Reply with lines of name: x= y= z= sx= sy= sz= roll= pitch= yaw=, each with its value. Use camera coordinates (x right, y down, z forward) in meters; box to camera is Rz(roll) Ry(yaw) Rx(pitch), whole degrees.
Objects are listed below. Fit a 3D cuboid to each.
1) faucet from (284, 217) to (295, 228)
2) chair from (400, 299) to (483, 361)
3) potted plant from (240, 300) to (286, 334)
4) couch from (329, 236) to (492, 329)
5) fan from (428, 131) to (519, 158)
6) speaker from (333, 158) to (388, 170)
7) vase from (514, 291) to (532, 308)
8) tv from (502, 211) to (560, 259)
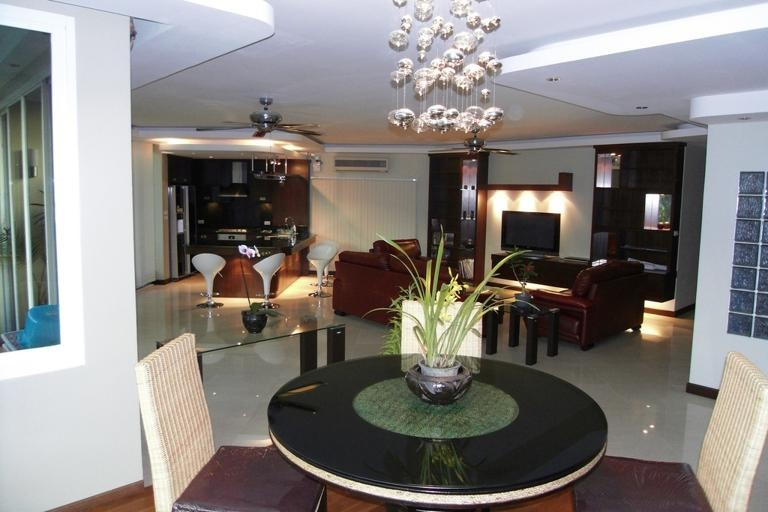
faucet: x=-2.072 y=-0.752 z=11.505 sx=0.181 sy=0.240 sz=0.089 roll=-3 pitch=1 yaw=6
chair: x=0.394 y=0.585 z=3.877 sx=0.657 sy=0.610 sz=0.475 roll=1 pitch=4 yaw=13
potted plant: x=-1.133 y=0.562 z=4.880 sx=0.319 sy=0.210 sz=0.312 roll=-1 pitch=1 yaw=3
couch: x=0.171 y=0.347 z=8.037 sx=1.264 sy=1.251 sz=2.133 roll=-4 pitch=9 yaw=-33
fan: x=1.646 y=-1.978 z=9.244 sx=1.378 sy=0.396 sz=1.370 roll=6 pitch=10 yaw=29
speaker: x=-0.489 y=-1.991 z=11.387 sx=1.101 sy=0.273 sz=0.245 roll=-2 pitch=9 yaw=-6
vase: x=1.829 y=0.555 z=6.745 sx=0.218 sy=0.148 sz=0.212 roll=0 pitch=4 yaw=-25
tv: x=2.796 y=-0.404 z=9.774 sx=0.975 sy=0.660 sz=0.276 roll=10 pitch=16 yaw=38
